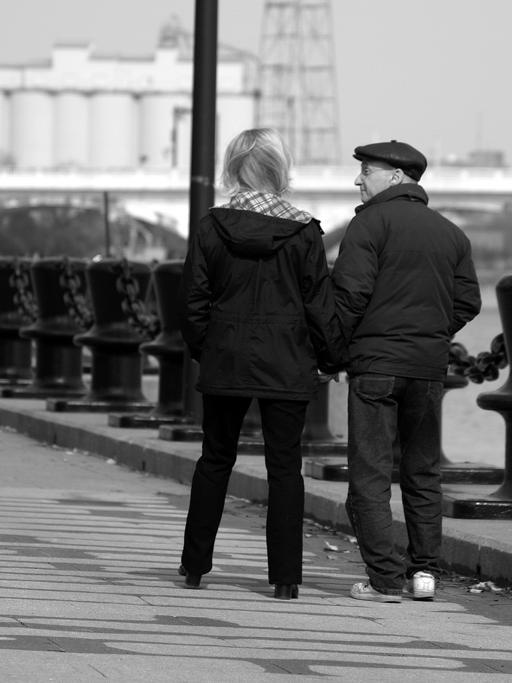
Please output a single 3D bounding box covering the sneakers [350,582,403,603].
[{"bbox_3d":[0.356,0.742,5.668,0.136,0.062,0.060,8,5,31],"label":"sneakers"}]
